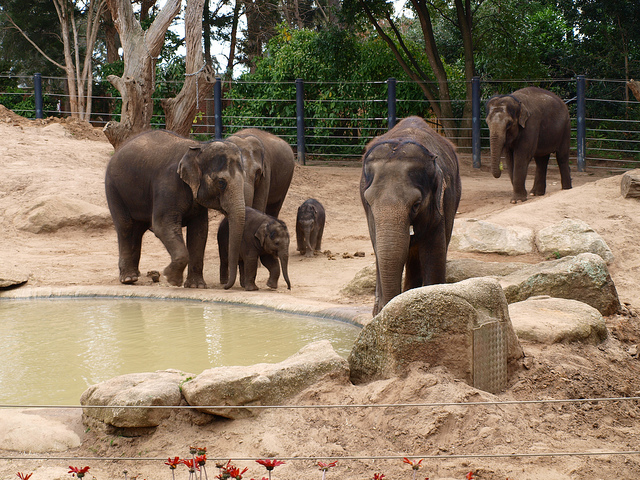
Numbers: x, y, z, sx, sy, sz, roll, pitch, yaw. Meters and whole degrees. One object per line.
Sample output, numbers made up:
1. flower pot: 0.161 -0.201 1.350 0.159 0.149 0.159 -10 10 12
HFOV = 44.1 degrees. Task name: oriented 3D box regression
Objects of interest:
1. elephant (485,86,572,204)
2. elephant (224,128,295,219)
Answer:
1. elephant: 3.866 -1.779 14.662 2.323 2.063 0.974 -9 9 -36
2. elephant: -0.892 -0.940 11.643 0.659 0.979 1.648 6 13 11
